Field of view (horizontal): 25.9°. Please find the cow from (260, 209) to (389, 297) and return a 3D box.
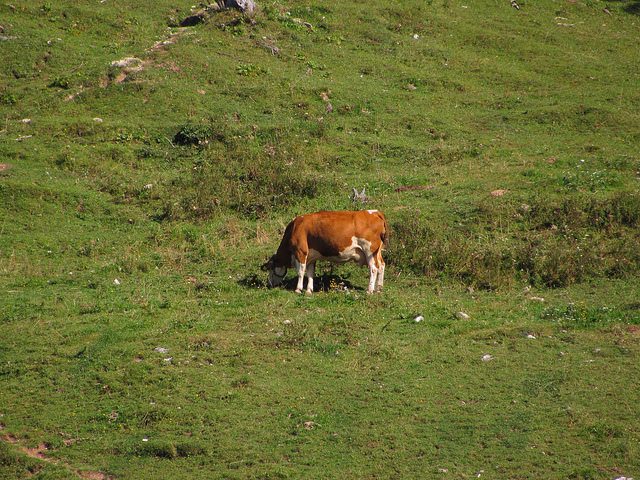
[{"bbox_3d":[0.164,0.552,53.946,4.942,3.377,1.505,-3,6,7],"label":"cow"}]
